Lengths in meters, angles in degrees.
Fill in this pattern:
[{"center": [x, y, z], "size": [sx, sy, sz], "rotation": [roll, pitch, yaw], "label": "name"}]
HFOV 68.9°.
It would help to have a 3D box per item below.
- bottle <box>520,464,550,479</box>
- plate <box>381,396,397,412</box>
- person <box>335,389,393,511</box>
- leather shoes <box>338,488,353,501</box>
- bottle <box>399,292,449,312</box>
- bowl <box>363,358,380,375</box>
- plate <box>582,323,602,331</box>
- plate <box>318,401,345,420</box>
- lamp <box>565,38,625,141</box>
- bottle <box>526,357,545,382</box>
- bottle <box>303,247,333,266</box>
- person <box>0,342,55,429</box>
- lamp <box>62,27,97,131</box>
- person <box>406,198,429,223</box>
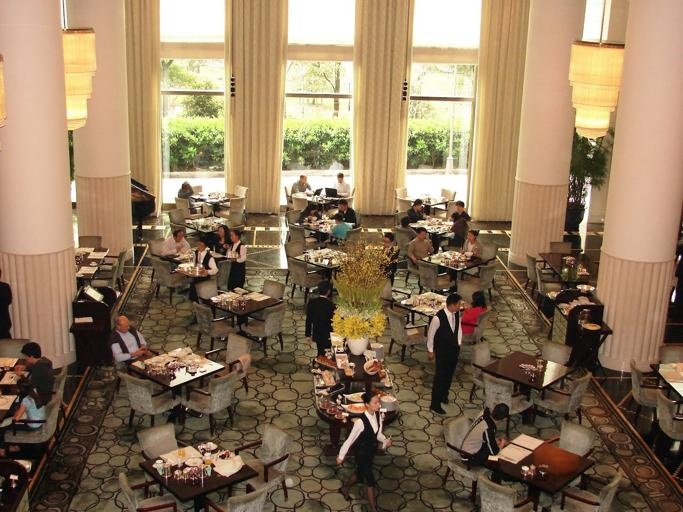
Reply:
[{"center": [2.018, 2.228, 5.187], "size": [0.290, 0.067, 0.231], "rotation": [0, 12, 7], "label": "bottle"}, {"center": [0.615, 1.904, 6.459], "size": [0.175, 0.107, 0.173], "rotation": [5, 8, 40], "label": "plate"}, {"center": [0.251, 2.106, 5.695], "size": [0.570, 1.438, 0.798], "rotation": [-1, 13, 4], "label": "person"}, {"center": [0.052, 2.747, 5.769], "size": [0.076, 0.081, 0.217], "rotation": [-1, 8, -33], "label": "leather shoes"}, {"center": [1.547, 0.851, 9.297], "size": [0.492, 0.096, 0.454], "rotation": [-2, 20, 1], "label": "bottle"}, {"center": [0.386, 1.466, 6.641], "size": [0.249, 0.135, 0.242], "rotation": [-1, 12, 0], "label": "bowl"}, {"center": [4.285, 1.205, 8.523], "size": [0.187, 0.113, 0.167], "rotation": [0, 22, -1], "label": "plate"}, {"center": [-0.138, 1.945, 6.322], "size": [0.202, 0.071, 0.244], "rotation": [-6, 16, -23], "label": "plate"}, {"center": [4.409, -2.954, 8.692], "size": [0.797, 1.526, 0.819], "rotation": [4, 14, 22], "label": "lamp"}, {"center": [2.820, 1.639, 7.222], "size": [0.147, 0.157, 0.460], "rotation": [6, 31, 21], "label": "bottle"}, {"center": [-0.520, 0.009, 11.112], "size": [0.489, 0.095, 0.436], "rotation": [3, 26, 5], "label": "bottle"}, {"center": [-3.988, 1.693, 6.384], "size": [0.651, 0.991, 0.446], "rotation": [9, 2, -7], "label": "person"}, {"center": [-4.529, -3.069, 8.575], "size": [0.608, 1.625, 0.548], "rotation": [-8, 15, -23], "label": "lamp"}, {"center": [2.147, -1.279, 14.086], "size": [0.542, 0.854, 0.418], "rotation": [-14, 44, -2], "label": "person"}]
